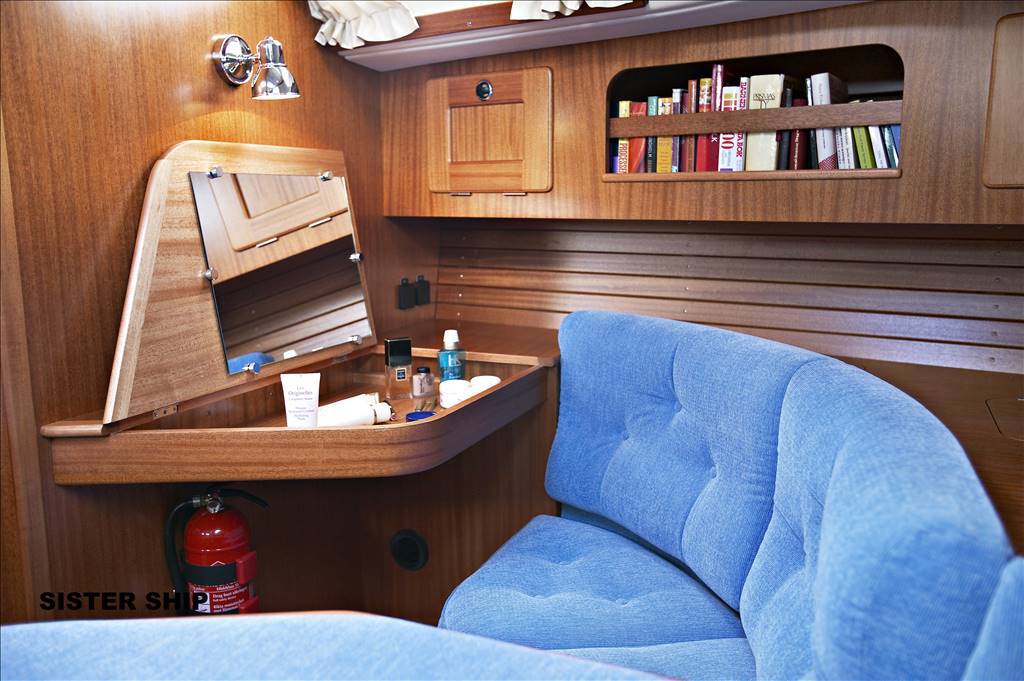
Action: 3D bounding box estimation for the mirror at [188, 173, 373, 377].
[{"bbox_3d":[-0.688,-0.184,2.219,0.107,0.542,0.624,-2,10,35],"label":"mirror"}]

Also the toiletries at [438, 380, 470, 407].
[{"bbox_3d":[-0.169,0.154,2.228,0.092,0.065,0.064,-1,11,5],"label":"toiletries"}]

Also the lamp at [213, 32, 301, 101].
[{"bbox_3d":[-0.716,-0.745,2.124,0.308,0.186,0.165,5,16,14],"label":"lamp"}]

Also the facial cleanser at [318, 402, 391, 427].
[{"bbox_3d":[-0.432,0.197,2.082,0.130,0.029,0.072,-7,15,-31],"label":"facial cleanser"}]

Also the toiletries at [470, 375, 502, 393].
[{"bbox_3d":[-0.084,0.122,2.265,0.062,0.046,0.056,-2,8,-11],"label":"toiletries"}]

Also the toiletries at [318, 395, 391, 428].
[{"bbox_3d":[-0.434,0.179,2.091,0.157,0.043,0.083,-10,25,-35],"label":"toiletries"}]

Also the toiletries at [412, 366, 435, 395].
[{"bbox_3d":[-0.272,0.123,2.320,0.072,0.083,0.084,-1,1,-15],"label":"toiletries"}]
